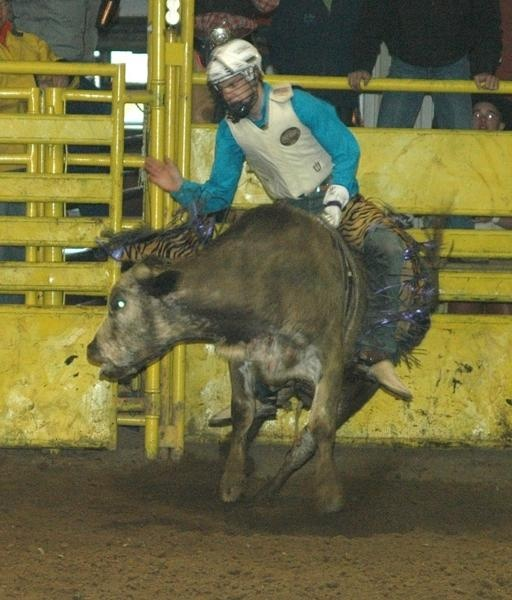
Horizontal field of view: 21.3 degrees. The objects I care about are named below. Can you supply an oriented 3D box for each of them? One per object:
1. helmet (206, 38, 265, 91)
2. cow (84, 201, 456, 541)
[{"bbox_3d":[-0.113,-1.192,6.978,0.226,0.213,0.300,0,-5,34],"label":"helmet"},{"bbox_3d":[0.195,0.276,7.162,2.557,1.720,0.805,-9,20,-36],"label":"cow"}]
